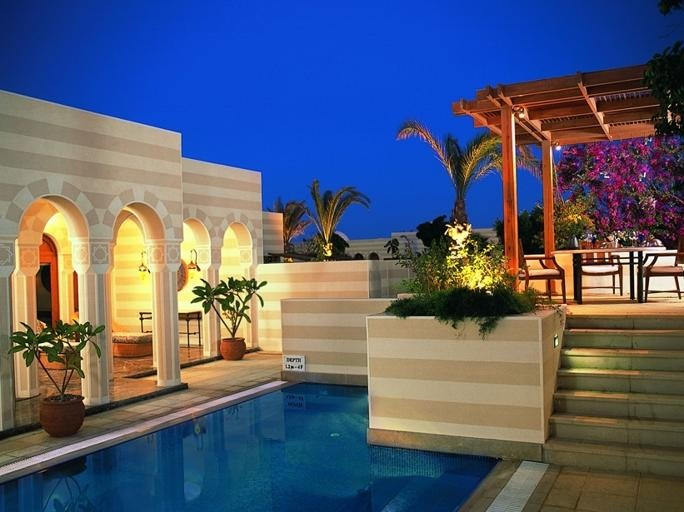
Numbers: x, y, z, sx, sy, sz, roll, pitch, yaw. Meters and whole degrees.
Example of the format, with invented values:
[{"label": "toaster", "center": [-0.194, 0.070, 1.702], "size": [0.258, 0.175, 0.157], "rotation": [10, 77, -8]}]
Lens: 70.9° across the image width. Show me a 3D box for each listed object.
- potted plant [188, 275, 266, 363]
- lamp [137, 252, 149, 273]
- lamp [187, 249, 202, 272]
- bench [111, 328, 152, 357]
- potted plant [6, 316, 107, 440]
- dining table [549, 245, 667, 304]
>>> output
[{"label": "potted plant", "center": [-3.028, 1.625, 12.279], "size": [1.940, 2.104, 2.058], "rotation": [-1, 0, 32]}, {"label": "lamp", "center": [-5.982, 0.171, 14.422], "size": [0.258, 0.508, 0.527], "rotation": [-2, -1, -24]}, {"label": "lamp", "center": [-4.413, 0.110, 14.279], "size": [0.298, 0.557, 0.603], "rotation": [-2, -1, -19]}, {"label": "bench", "center": [-5.509, 2.328, 12.637], "size": [1.038, 0.494, 0.551], "rotation": [-3, 0, 10]}, {"label": "potted plant", "center": [-4.415, 1.901, 7.431], "size": [1.221, 1.763, 1.572], "rotation": [-1, 1, 2]}, {"label": "dining table", "center": [5.054, 0.202, 9.397], "size": [0.925, 1.229, 0.877], "rotation": [-6, 3, -37]}]
